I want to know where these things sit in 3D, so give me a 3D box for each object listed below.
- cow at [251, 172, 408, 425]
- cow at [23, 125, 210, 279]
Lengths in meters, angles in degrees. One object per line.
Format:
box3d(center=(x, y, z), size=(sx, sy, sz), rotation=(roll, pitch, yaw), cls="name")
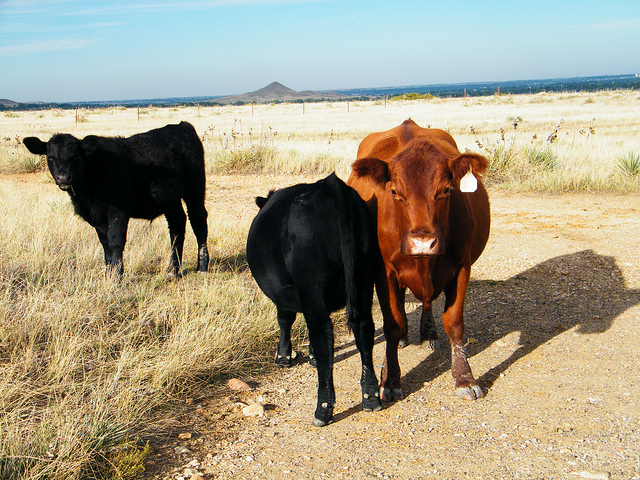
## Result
box3d(center=(0.038, 0.446, 6.472), size=(1.424, 2.379, 1.598), rotation=(-8, 16, -13), cls="cow")
box3d(center=(-2.838, -0.492, 9.099), size=(1.002, 2.555, 3.127), rotation=(2, 9, 30), cls="cow")
